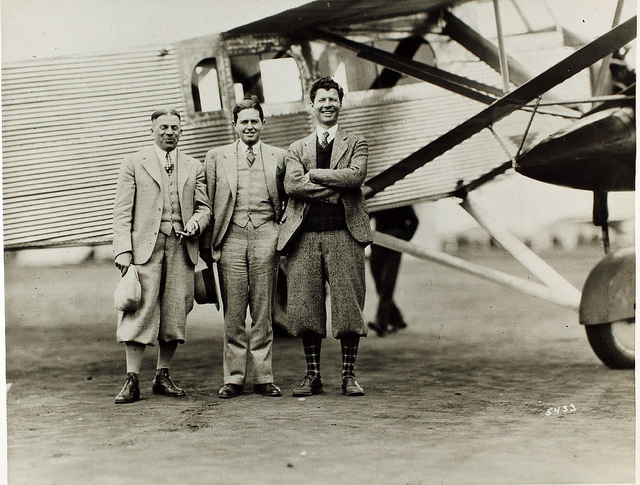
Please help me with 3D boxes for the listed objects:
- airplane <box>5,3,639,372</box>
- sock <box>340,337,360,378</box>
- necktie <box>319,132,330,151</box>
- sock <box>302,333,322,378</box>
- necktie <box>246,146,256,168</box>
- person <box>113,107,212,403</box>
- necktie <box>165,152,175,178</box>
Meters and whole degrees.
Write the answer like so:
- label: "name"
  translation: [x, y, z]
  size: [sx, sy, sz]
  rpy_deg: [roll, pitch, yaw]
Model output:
- label: "airplane"
  translation: [0.126, -0.979, 8.647]
  size: [3.659, 1.604, 3.994]
  rpy_deg: [-4, 5, -12]
- label: "sock"
  translation: [0.242, 0.905, 7.977]
  size: [0.143, 0.326, 0.118]
  rpy_deg: [0, 9, 6]
- label: "necktie"
  translation: [0.039, -0.812, 7.994]
  size: [0.055, 0.137, 0.141]
  rpy_deg: [7, 12, 11]
- label: "sock"
  translation: [-0.060, 0.888, 7.988]
  size: [0.143, 0.366, 0.133]
  rpy_deg: [-2, 9, -5]
- label: "necktie"
  translation: [-0.557, -0.681, 8.029]
  size: [0.137, 0.176, 0.044]
  rpy_deg: [-1, 0, -8]
- label: "person"
  translation: [-1.241, 0.218, 7.942]
  size: [0.789, 1.967, 0.543]
  rpy_deg: [-2, 9, -7]
- label: "necktie"
  translation: [-1.207, -0.621, 8.003]
  size: [0.072, 0.179, 0.072]
  rpy_deg: [3, 10, 26]
